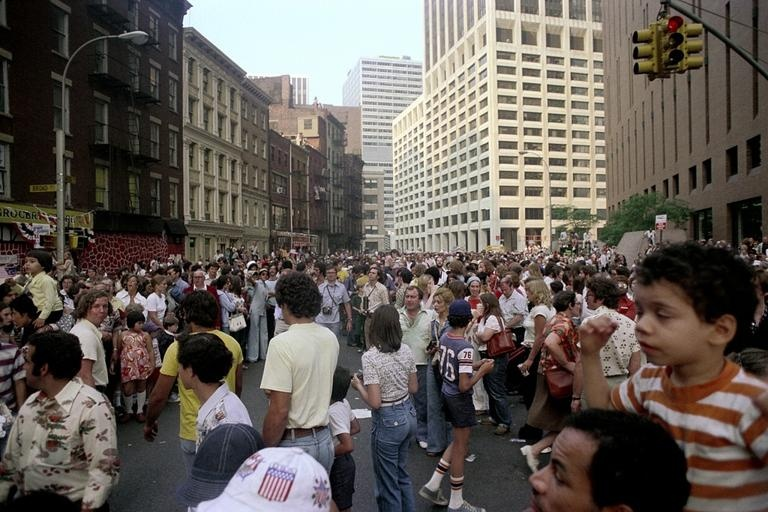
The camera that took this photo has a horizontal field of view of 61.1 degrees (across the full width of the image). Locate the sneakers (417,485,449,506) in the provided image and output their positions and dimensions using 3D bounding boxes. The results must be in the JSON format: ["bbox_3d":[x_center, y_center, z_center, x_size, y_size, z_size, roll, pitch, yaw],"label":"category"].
[{"bbox_3d":[0.678,3.356,9.103,0.431,0.228,0.206,26,-3,0],"label":"sneakers"}]

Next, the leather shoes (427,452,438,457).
[{"bbox_3d":[0.786,3.185,10.320,0.172,0.083,0.066,-7,-6,27],"label":"leather shoes"}]

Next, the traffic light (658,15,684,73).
[{"bbox_3d":[5.640,-4.204,12.697,0.403,1.112,0.360,-3,-3,25],"label":"traffic light"}]

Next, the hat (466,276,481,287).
[{"bbox_3d":[1.763,0.469,12.571,0.199,0.254,0.291,1,-14,-1],"label":"hat"}]

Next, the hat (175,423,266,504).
[{"bbox_3d":[-1.672,2.172,6.756,0.579,0.536,0.858,4,8,28],"label":"hat"}]

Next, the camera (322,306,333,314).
[{"bbox_3d":[-1.254,1.212,14.346,0.153,0.187,0.129,-4,0,1],"label":"camera"}]

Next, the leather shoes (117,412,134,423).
[{"bbox_3d":[-4.724,3.008,11.872,0.126,0.139,0.310,3,-13,4],"label":"leather shoes"}]

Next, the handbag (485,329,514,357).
[{"bbox_3d":[1.951,1.498,11.058,0.404,0.531,0.167,-5,-6,-6],"label":"handbag"}]

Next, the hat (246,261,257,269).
[{"bbox_3d":[-3.777,0.266,18.549,0.220,0.218,0.182,-19,-7,35],"label":"hat"}]

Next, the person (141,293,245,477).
[{"bbox_3d":[-2.439,2.198,8.425,1.312,3.521,0.895,-2,1,-20],"label":"person"}]

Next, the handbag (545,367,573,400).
[{"bbox_3d":[2.555,1.854,9.432,0.438,0.466,0.184,0,2,0],"label":"handbag"}]

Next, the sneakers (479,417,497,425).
[{"bbox_3d":[1.854,2.998,11.680,0.258,0.125,0.129,3,-4,20],"label":"sneakers"}]

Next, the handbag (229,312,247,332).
[{"bbox_3d":[-3.328,1.518,14.769,0.188,0.517,0.501,4,5,27],"label":"handbag"}]

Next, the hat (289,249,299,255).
[{"bbox_3d":[-5.740,-0.249,41.728,0.450,0.217,0.673,1,-1,-17],"label":"hat"}]

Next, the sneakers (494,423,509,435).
[{"bbox_3d":[2.014,3.007,11.135,0.115,0.140,0.306,-8,-24,29],"label":"sneakers"}]
